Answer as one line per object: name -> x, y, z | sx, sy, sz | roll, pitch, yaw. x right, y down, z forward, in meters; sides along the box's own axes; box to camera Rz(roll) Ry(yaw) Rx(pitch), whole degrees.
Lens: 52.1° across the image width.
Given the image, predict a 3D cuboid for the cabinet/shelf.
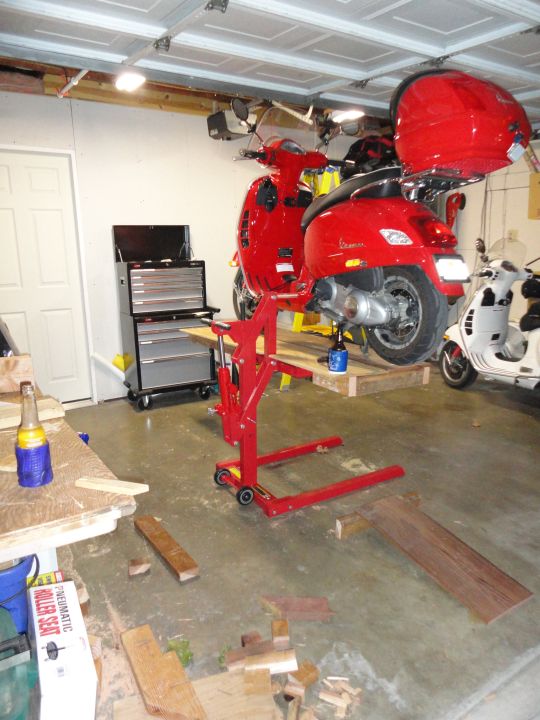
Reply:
cabinet/shelf -> -0.696, -0.246, 4.546 | 0.767, 1.162, 0.587 | -5, 8, 20
